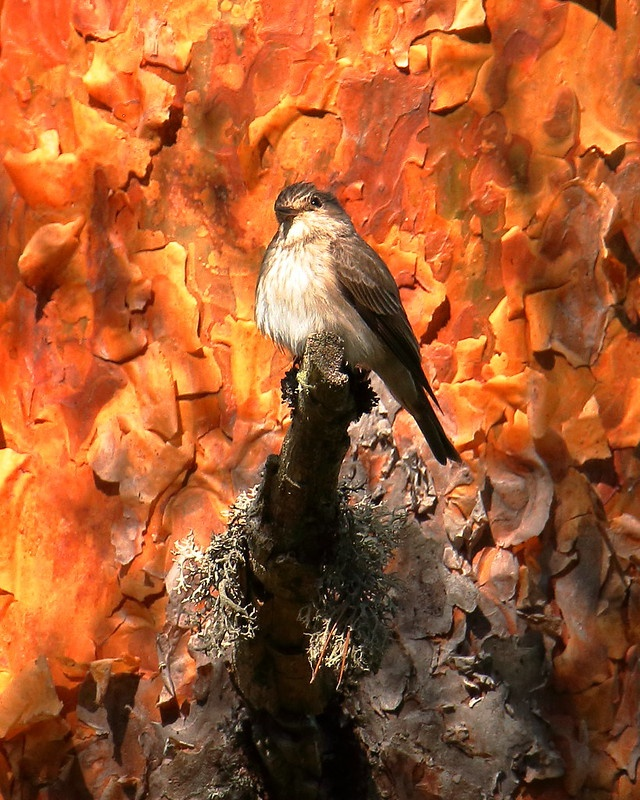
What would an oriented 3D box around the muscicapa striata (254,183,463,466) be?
[{"bbox_3d":[0.146,-0.294,5.624,0.824,0.459,0.716,17,76,-40],"label":"muscicapa striata"}]
